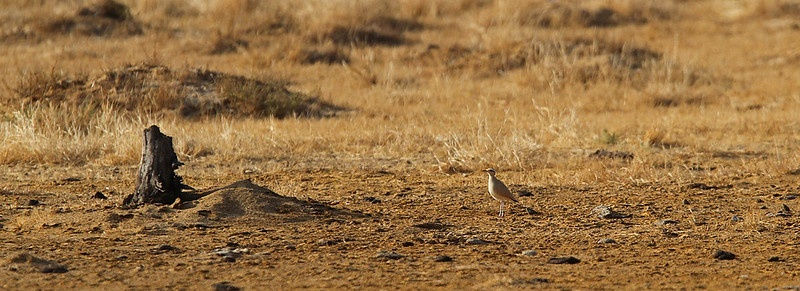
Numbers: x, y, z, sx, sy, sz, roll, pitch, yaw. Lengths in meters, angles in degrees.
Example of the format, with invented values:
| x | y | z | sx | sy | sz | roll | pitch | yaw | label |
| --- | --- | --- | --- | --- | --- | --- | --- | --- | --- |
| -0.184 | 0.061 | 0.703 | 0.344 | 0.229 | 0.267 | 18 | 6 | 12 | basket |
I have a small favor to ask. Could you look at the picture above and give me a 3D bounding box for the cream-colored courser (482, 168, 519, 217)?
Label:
| x | y | z | sx | sy | sz | roll | pitch | yaw | label |
| --- | --- | --- | --- | --- | --- | --- | --- | --- | --- |
| 3.976 | 1.713 | 42.241 | 1.056 | 1.815 | 1.235 | -4 | 9 | 4 | cream-colored courser |
